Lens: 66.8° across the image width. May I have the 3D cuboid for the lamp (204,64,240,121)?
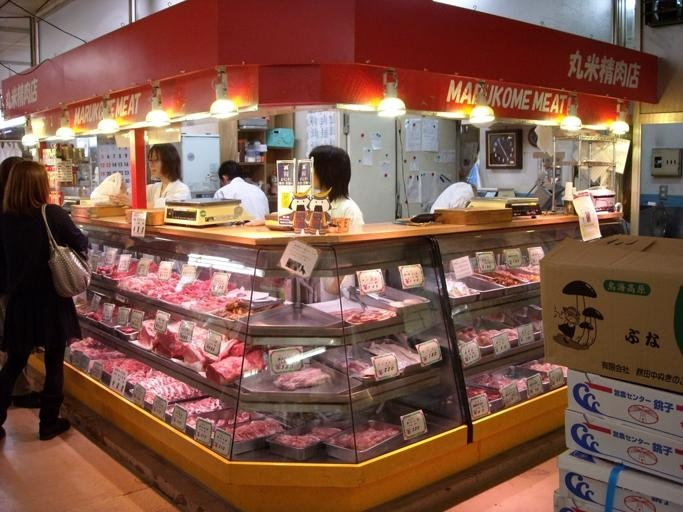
[{"bbox_3d":[-0.820,-1.133,3.579,0.182,0.326,0.278,-3,9,-13],"label":"lamp"}]

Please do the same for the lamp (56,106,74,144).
[{"bbox_3d":[-3.019,-1.452,5.629,0.169,0.317,0.534,-6,11,-28],"label":"lamp"}]

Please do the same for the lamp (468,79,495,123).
[{"bbox_3d":[1.094,-1.224,4.062,0.190,0.278,0.191,-16,17,-41],"label":"lamp"}]

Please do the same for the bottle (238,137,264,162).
[{"bbox_3d":[-1.327,-1.555,7.658,0.502,0.366,0.293,5,23,3],"label":"bottle"}]

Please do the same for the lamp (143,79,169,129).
[{"bbox_3d":[-1.487,-1.245,4.159,0.188,0.336,0.195,12,17,33],"label":"lamp"}]

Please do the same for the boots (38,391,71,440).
[{"bbox_3d":[-2.204,1.241,4.000,0.141,0.295,0.300,0,0,17],"label":"boots"}]

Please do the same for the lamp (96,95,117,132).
[{"bbox_3d":[-2.182,-1.320,4.811,0.174,0.328,0.542,-5,11,-23],"label":"lamp"}]

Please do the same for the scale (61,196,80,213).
[{"bbox_3d":[-2.884,-0.541,5.478,0.188,0.104,0.323,-12,35,-39],"label":"scale"}]

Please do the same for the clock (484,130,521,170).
[{"bbox_3d":[1.972,-1.300,6.279,0.084,0.497,0.469,-4,6,-39],"label":"clock"}]
